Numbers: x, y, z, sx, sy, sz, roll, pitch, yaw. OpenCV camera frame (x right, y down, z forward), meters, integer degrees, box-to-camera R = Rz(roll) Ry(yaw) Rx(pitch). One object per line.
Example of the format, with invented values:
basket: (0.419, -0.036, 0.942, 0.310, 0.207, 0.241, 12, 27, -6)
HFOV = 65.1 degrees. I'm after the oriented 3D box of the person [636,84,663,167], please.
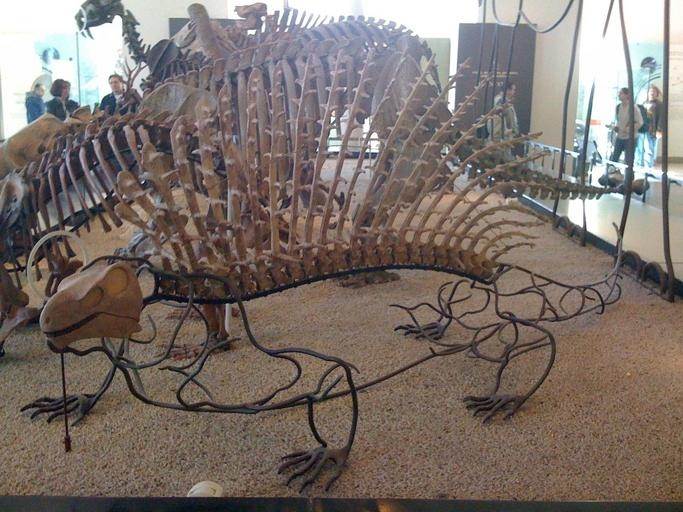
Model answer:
person: (3.071, -1.292, 5.361, 0.247, 0.810, 0.471, 11, 23, 28)
